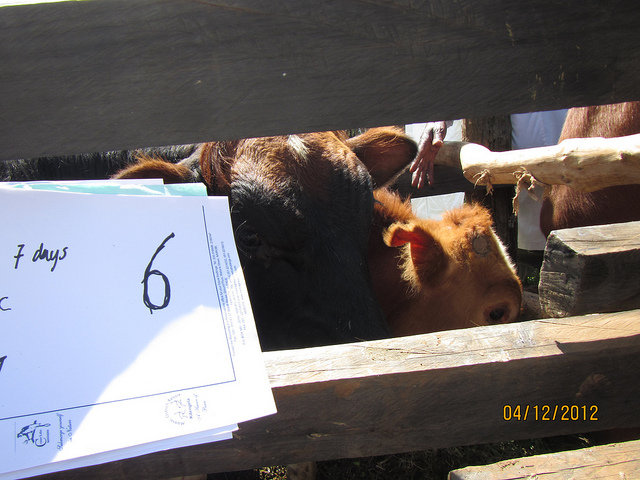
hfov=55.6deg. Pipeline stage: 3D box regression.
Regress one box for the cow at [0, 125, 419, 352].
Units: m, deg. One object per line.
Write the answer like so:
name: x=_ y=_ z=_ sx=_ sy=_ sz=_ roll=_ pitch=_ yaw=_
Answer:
cow: x=-0.371 y=-0.019 z=1.972 sx=1.164 sy=0.582 sz=0.562 roll=2 pitch=8 yaw=38
